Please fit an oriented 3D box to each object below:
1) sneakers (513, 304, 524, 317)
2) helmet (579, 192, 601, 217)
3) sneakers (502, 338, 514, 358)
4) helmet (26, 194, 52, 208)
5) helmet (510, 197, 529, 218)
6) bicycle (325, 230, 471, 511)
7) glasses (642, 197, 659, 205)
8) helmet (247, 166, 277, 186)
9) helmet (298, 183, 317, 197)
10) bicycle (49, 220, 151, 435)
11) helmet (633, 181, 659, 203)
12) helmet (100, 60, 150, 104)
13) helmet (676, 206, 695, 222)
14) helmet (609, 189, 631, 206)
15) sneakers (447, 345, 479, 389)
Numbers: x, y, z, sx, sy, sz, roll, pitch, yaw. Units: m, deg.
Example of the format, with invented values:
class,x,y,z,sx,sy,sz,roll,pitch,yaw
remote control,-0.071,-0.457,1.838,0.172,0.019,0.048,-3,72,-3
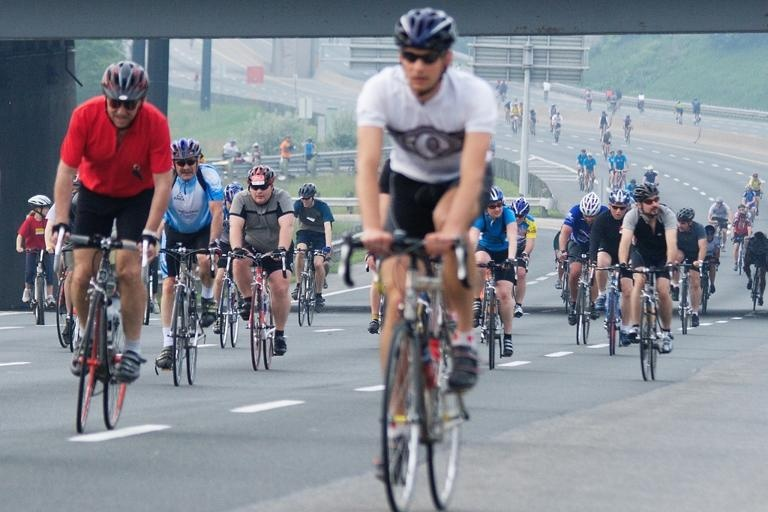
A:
class,x,y,z,sx,sy,sz,roll,pitch,yaw
sneakers,2.437,1.008,24.447,0.166,0.187,0.465,0,-8,3
helmet,3.555,-0.855,23.135,0.338,0.456,0.172,4,-29,13
sneakers,1.820,1.321,19.882,0.137,0.292,0.270,-1,1,2
helmet,-6.305,-0.908,24.502,0.488,0.170,0.329,1,11,6
helmet,2.311,-0.776,22.712,0.305,0.365,0.373,2,-3,9
bicycle,0.319,1.082,12.306,0.855,2.591,1.347,0,2,30
glasses,3.731,-0.730,18.845,0.134,0.123,0.043,2,30,0
helmet,-1.690,-1.088,18.665,0.280,0.293,0.330,2,17,3
helmet,-1.363,-1.143,24.433,0.254,0.260,0.292,5,28,2
bicycle,-2.956,0.814,14.185,0.747,2.094,0.736,-1,1,-10
helmet,3.655,-0.872,18.838,0.264,0.200,0.343,-12,18,-14
helmet,-2.644,-1.752,13.855,0.377,0.343,0.473,1,20,-14
helmet,5.721,-0.725,25.556,0.286,0.268,0.561,0,1,10
helmet,3.752,-0.890,21.535,0.362,0.206,0.524,5,5,1
sneakers,0.752,1.049,12.430,0.231,0.443,0.226,0,-10,3
